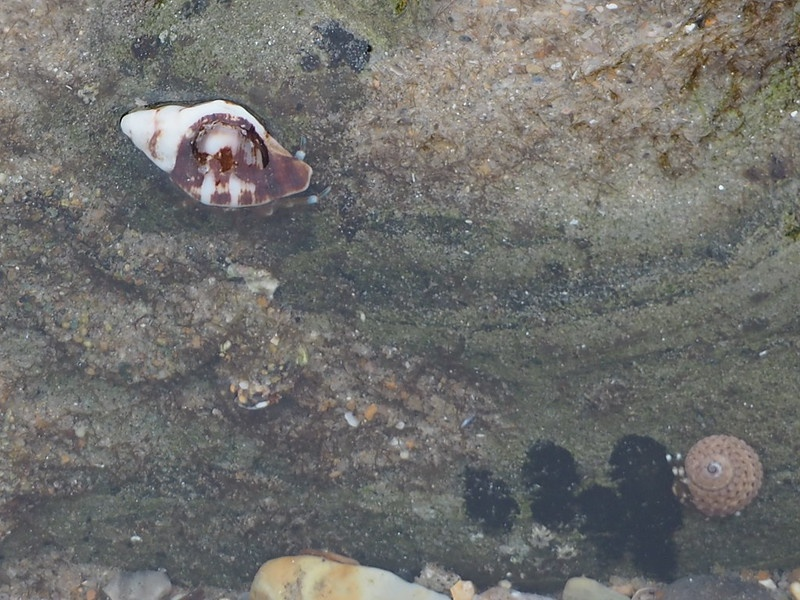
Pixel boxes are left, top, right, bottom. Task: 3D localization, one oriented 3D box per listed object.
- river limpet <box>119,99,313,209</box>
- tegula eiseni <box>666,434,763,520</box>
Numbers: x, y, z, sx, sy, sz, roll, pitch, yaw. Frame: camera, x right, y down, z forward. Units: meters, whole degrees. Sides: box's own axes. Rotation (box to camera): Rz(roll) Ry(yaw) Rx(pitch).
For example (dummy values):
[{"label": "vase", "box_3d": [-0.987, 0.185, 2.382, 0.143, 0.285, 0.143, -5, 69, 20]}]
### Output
[{"label": "river limpet", "box_3d": [-1.584, -1.243, 11.092, 1.449, 0.537, 0.935, 23, 88, -8]}, {"label": "tegula eiseni", "box_3d": [2.815, 1.535, 11.208, 0.795, 0.428, 0.617, -2, 63, 1]}]
